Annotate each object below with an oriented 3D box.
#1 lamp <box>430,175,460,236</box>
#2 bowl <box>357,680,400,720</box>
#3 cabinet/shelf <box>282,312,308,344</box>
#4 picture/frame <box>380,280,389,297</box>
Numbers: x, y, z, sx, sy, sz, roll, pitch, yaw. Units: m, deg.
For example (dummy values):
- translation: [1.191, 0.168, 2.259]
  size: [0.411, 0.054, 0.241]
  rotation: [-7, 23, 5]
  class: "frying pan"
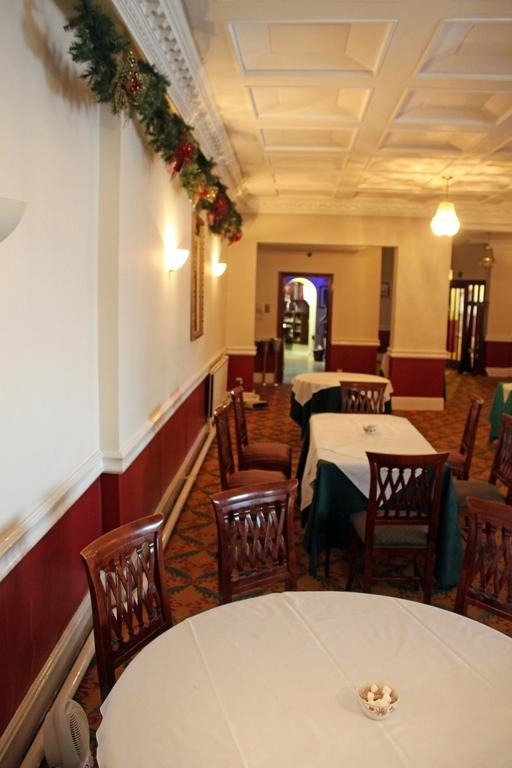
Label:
- translation: [2.261, -2.116, 6.464]
  size: [0.318, 0.726, 0.327]
  rotation: [-2, 8, -37]
  class: "lamp"
- translation: [0.269, 0.694, 1.195]
  size: [0.088, 0.056, 0.095]
  rotation: [0, 1, 0]
  class: "bowl"
- translation: [1.457, -2.006, 19.570]
  size: [0.577, 1.165, 1.153]
  rotation: [0, 1, -30]
  class: "cabinet/shelf"
- translation: [3.650, -2.659, 15.360]
  size: [0.229, 0.410, 0.375]
  rotation: [1, 1, 10]
  class: "picture/frame"
